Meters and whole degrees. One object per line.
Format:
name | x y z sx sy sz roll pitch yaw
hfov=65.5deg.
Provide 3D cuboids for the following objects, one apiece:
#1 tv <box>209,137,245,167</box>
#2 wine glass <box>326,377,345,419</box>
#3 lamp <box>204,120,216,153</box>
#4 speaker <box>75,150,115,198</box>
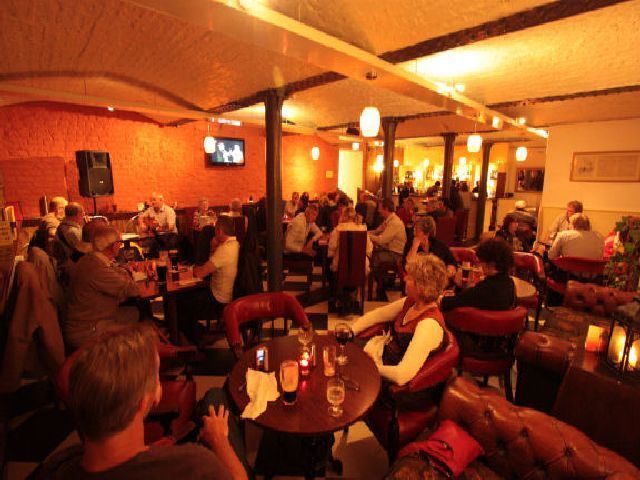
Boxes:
tv | -2.130 -1.995 11.132 0.096 0.510 0.727 7 11 35
wine glass | 0.107 1.162 3.709 0.143 0.235 0.145 -2 -3 22
lamp | -2.316 -2.145 10.315 0.275 0.693 1.383 -2 11 -12
speaker | -3.725 -1.171 8.449 0.411 0.759 0.264 -3 13 -9
